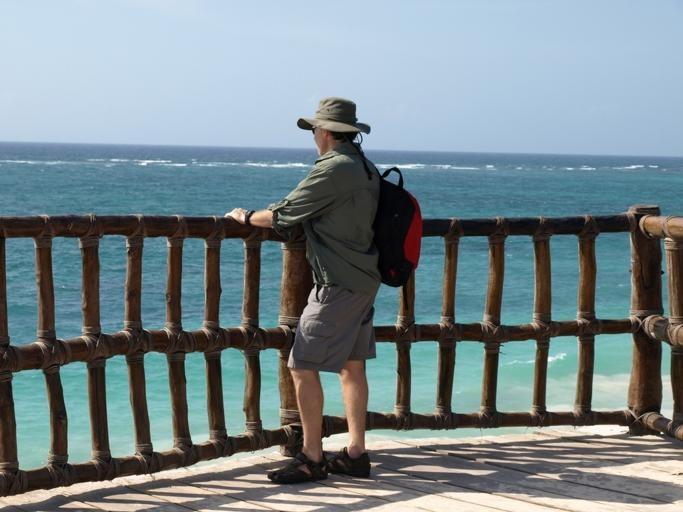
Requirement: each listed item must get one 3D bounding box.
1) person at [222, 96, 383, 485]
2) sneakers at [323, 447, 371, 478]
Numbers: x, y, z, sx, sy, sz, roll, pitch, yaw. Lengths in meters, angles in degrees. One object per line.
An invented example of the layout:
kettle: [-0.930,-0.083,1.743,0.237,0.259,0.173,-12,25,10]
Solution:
person: [-0.125,0.254,8.992,0.846,2.801,0.383,-1,5,1]
sneakers: [0.074,1.537,9.103,0.390,0.134,0.162,3,-1,21]
